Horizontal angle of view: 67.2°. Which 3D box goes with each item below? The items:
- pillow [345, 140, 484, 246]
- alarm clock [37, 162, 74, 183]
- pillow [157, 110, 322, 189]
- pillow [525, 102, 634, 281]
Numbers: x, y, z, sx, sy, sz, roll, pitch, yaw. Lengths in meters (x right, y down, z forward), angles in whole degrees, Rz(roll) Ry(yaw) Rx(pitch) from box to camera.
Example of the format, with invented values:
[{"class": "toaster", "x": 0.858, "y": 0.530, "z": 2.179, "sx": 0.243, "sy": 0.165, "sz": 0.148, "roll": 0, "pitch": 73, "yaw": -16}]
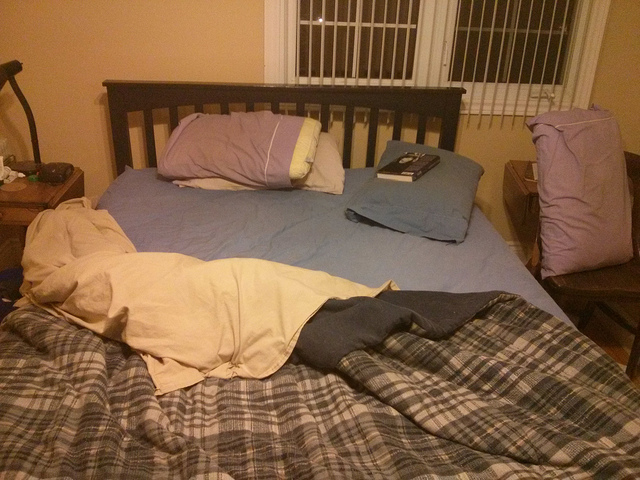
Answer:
[{"class": "pillow", "x": 0.508, "y": -0.307, "z": 2.535, "sx": 0.774, "sy": 0.170, "sz": 0.771, "roll": -27, "pitch": 29, "yaw": -5}, {"class": "alarm clock", "x": -1.470, "y": -0.376, "z": 2.677, "sx": 0.124, "sy": 0.049, "sz": 0.147, "roll": 2, "pitch": 38, "yaw": -1}, {"class": "pillow", "x": -0.430, "y": -0.499, "z": 2.635, "sx": 0.650, "sy": 0.185, "sz": 0.506, "roll": 5, "pitch": 59, "yaw": 5}, {"class": "pillow", "x": 1.230, "y": -0.212, "z": 2.362, "sx": 0.479, "sy": 0.798, "sz": 0.225, "roll": 0, "pitch": -5, "yaw": -1}]
